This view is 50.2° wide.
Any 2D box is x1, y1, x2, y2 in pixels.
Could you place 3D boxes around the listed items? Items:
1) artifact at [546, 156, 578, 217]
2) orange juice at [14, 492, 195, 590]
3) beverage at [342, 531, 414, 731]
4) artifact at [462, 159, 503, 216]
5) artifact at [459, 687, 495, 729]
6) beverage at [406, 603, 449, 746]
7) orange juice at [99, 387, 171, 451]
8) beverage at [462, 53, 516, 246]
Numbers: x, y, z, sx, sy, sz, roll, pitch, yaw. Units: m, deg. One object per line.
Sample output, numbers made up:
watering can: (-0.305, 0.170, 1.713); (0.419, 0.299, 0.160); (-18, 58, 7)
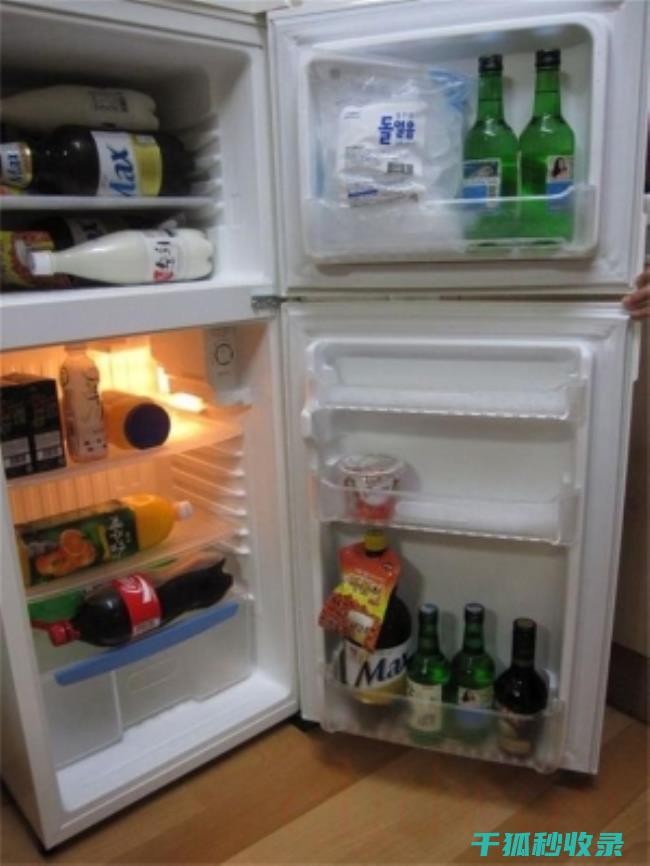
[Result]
artifact: (0.298, -0.314, 0.883); (0.034, 0.074, 0.072); (1, 14, 17)
orange juice: (-0.404, 0.145, 1.243); (0.190, 0.129, 0.265); (-15, 25, -37)
beverage: (0.073, 0.325, 1.151); (0.087, 0.311, 0.124); (22, 30, 36)
artifact: (0.206, -0.321, 0.912); (0.049, 0.071, 0.078); (0, 13, 12)
artifact: (0.233, 0.428, 1.078); (0.070, 0.063, 0.050); (1, 3, 11)
beverage: (0.168, 0.388, 1.128); (0.075, 0.194, 0.075); (4, 12, 27)
orange juice: (-0.321, -0.014, 1.284); (0.142, 0.111, 0.096); (23, 28, 39)
beverage: (0.215, -0.363, 0.913); (0.066, 0.235, 0.083); (11, 30, 18)
